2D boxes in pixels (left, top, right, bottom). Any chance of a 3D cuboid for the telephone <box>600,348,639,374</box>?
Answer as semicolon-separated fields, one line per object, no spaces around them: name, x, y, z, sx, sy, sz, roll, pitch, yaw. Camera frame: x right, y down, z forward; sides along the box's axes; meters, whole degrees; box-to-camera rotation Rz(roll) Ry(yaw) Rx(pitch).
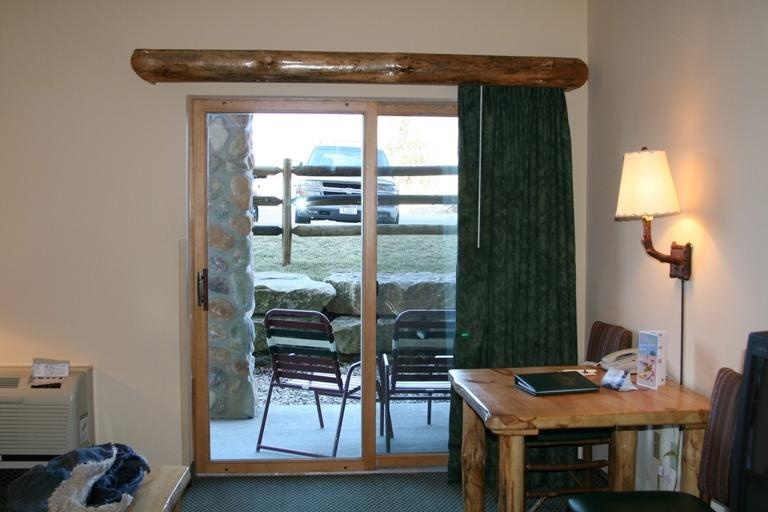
telephone;1.453;0.653;3.832;0.186;0.058;0.138;-2;1;-1

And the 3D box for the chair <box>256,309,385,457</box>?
chair;-0.466;0.923;4.779;0.712;1.051;0.832;0;-1;33

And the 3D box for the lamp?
lamp;1.613;-0.246;3.707;0.436;0.787;0.240;1;4;10

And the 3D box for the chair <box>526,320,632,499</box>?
chair;1.277;1.001;4.178;0.724;1.055;0.682;-1;6;6
